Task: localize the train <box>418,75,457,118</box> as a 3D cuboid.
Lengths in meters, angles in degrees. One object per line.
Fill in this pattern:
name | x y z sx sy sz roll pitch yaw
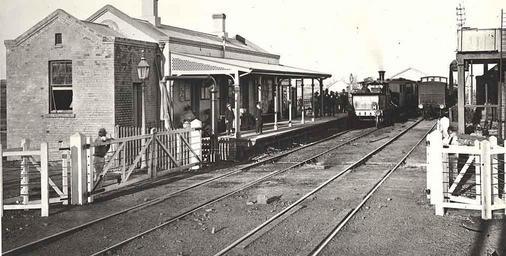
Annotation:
train | 21.625 -3.534 51.790 3.018 5.150 7.406 6 13 30
